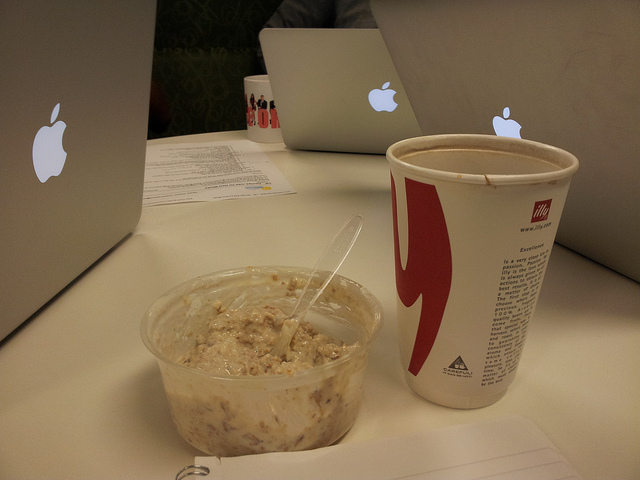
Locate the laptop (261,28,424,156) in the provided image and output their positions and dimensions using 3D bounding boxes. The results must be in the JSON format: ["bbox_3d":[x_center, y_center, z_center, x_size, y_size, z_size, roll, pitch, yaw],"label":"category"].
[{"bbox_3d":[0.041,-0.339,1.103,0.352,0.272,0.293,2,28,9],"label":"laptop"}]

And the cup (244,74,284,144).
[{"bbox_3d":[-0.143,-0.319,1.234,0.097,0.150,0.159,-8,25,-12],"label":"cup"}]

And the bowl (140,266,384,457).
[{"bbox_3d":[-0.048,0.100,0.569,0.257,0.164,0.245,2,25,-1],"label":"bowl"}]

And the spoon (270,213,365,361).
[{"bbox_3d":[-0.003,0.060,0.591,0.027,0.171,0.024,25,-12,0],"label":"spoon"}]

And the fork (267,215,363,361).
[{"bbox_3d":[-0.005,0.061,0.589,0.022,0.024,0.182,24,63,9],"label":"fork"}]
